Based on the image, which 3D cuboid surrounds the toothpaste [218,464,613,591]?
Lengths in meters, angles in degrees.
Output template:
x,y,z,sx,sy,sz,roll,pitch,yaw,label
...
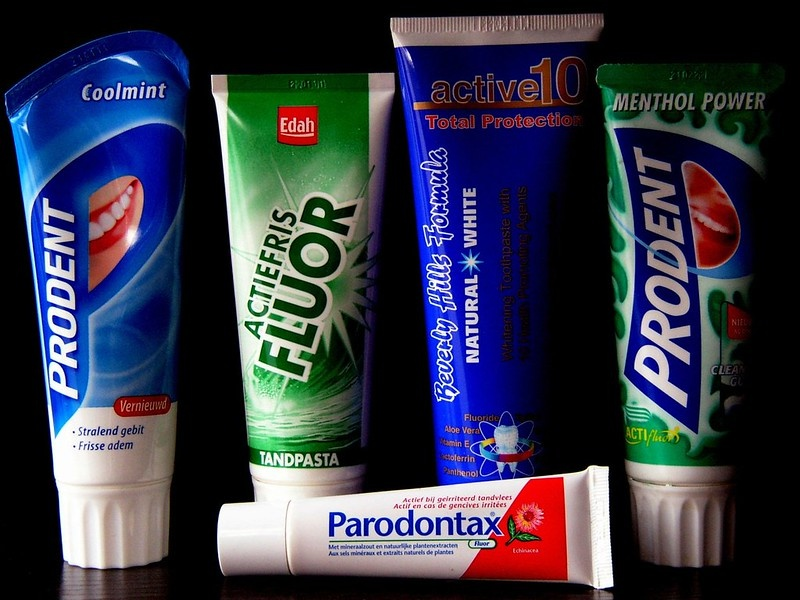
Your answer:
x,y,z,sx,sy,sz,roll,pitch,yaw,label
0.010,0.194,0.715,0.315,0.114,0.059,-3,-43,5,toothpaste
